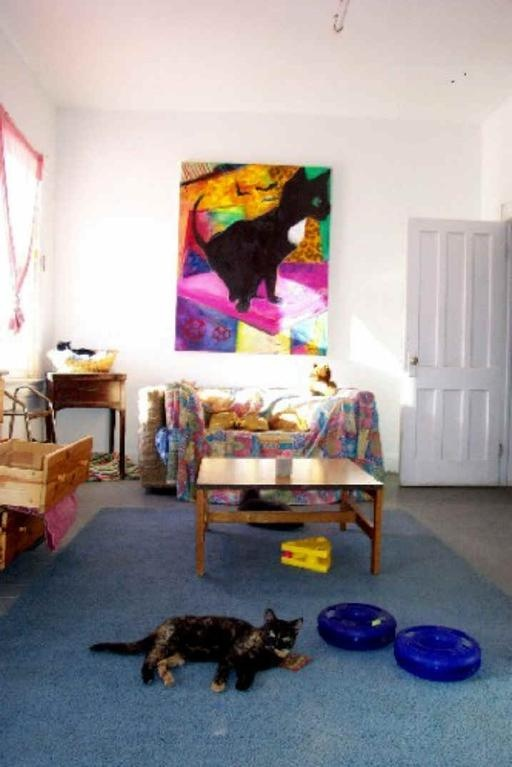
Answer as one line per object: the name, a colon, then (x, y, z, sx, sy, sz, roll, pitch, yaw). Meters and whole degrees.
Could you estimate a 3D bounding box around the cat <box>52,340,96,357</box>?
cat: (-1.310, -0.248, 4.455, 0.274, 0.118, 0.394, 1, 1, -13)

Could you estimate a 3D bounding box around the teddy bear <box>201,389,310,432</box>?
teddy bear: (-0.030, 0.186, 3.919, 0.428, 0.154, 0.344, 1, 3, -17)

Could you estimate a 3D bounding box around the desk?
desk: (-1.190, 0.290, 4.273, 0.531, 0.733, 0.720, 1, 1, -19)
